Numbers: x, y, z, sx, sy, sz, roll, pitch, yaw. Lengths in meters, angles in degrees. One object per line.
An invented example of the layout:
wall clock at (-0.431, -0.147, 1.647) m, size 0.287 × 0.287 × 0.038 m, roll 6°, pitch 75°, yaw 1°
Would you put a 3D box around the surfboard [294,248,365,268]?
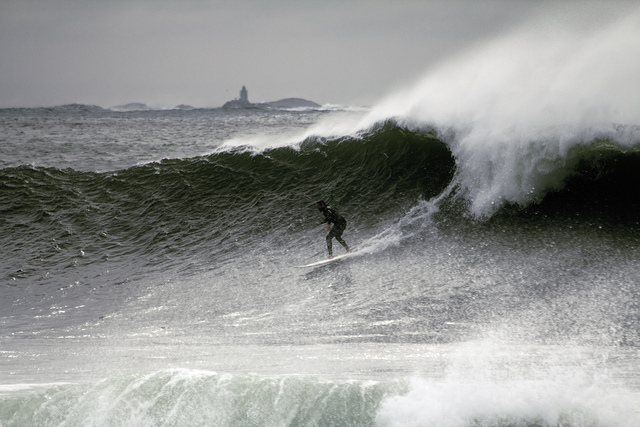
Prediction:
surfboard at (0.264, 1.079, 16.114) m, size 1.272 × 0.089 × 0.149 m, roll -16°, pitch 17°, yaw 0°
